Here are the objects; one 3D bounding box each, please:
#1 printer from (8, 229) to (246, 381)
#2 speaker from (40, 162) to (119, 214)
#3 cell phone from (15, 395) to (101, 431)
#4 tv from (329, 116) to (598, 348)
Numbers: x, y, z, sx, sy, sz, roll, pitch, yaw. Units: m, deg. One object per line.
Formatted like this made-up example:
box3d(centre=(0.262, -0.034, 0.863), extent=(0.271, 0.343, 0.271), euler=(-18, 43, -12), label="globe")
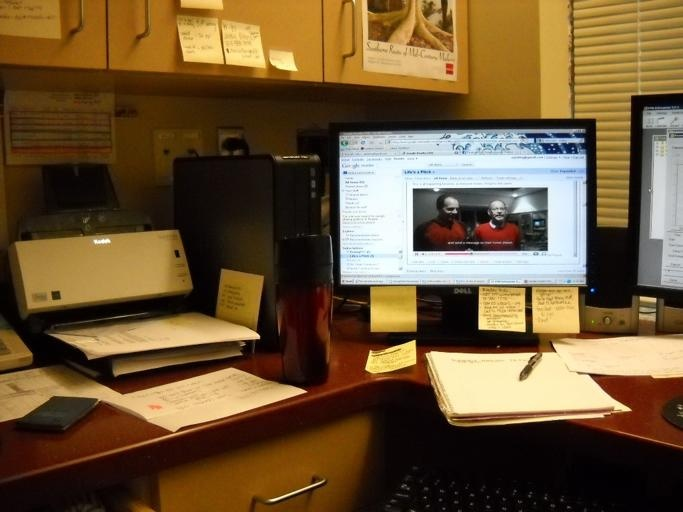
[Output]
box3d(centre=(-0.456, 0.044, 1.152), extent=(0.304, 0.187, 0.407), euler=(-8, 20, -39), label="printer")
box3d(centre=(-0.668, -0.177, 1.436), extent=(0.175, 0.111, 0.112), euler=(-8, 15, -29), label="speaker")
box3d(centre=(-0.477, 0.263, 0.942), extent=(0.098, 0.018, 0.091), euler=(2, 14, 9), label="cell phone")
box3d(centre=(0.284, -0.066, 1.285), extent=(0.508, 0.437, 0.152), euler=(0, -3, 1), label="tv")
